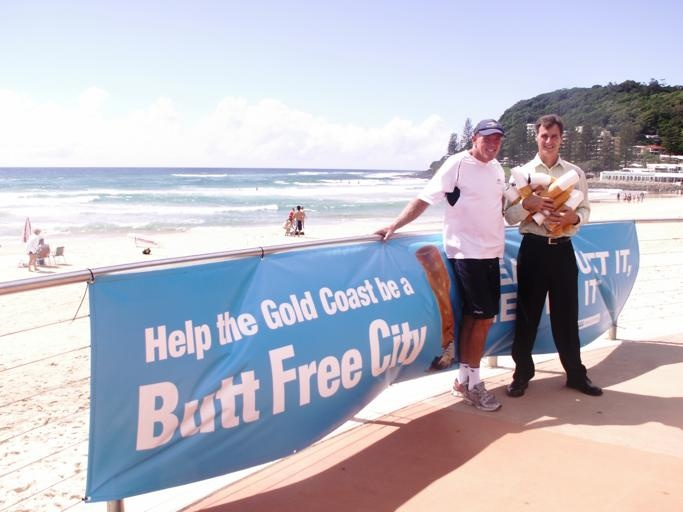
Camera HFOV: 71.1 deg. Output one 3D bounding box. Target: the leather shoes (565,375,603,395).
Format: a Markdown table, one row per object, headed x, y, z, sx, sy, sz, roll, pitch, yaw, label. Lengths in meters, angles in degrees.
| x | y | z | sx | sy | sz | roll | pitch | yaw | label |
| --- | --- | --- | --- | --- | --- | --- | --- | --- | --- |
| 1.958 | 1.045 | 3.931 | 0.293 | 0.125 | 0.106 | 4 | 11 | 41 | leather shoes |

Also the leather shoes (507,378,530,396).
| x | y | z | sx | sy | sz | roll | pitch | yaw | label |
| --- | --- | --- | --- | --- | --- | --- | --- | --- | --- |
| 1.418 | 1.072 | 3.889 | 0.087 | 0.086 | 0.210 | -3 | -4 | 39 | leather shoes |

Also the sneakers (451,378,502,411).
| x | y | z | sx | sy | sz | roll | pitch | yaw | label |
| --- | --- | --- | --- | --- | --- | --- | --- | --- | --- |
| 1.038 | 1.087 | 3.749 | 0.357 | 0.149 | 0.143 | 13 | 18 | 40 | sneakers |

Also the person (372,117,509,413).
| x | y | z | sx | sy | sz | roll | pitch | yaw | label |
| --- | --- | --- | --- | --- | --- | --- | --- | --- | --- |
| 0.795 | -0.037 | 3.843 | 0.807 | 2.230 | 0.962 | 0 | 1 | -22 | person |
